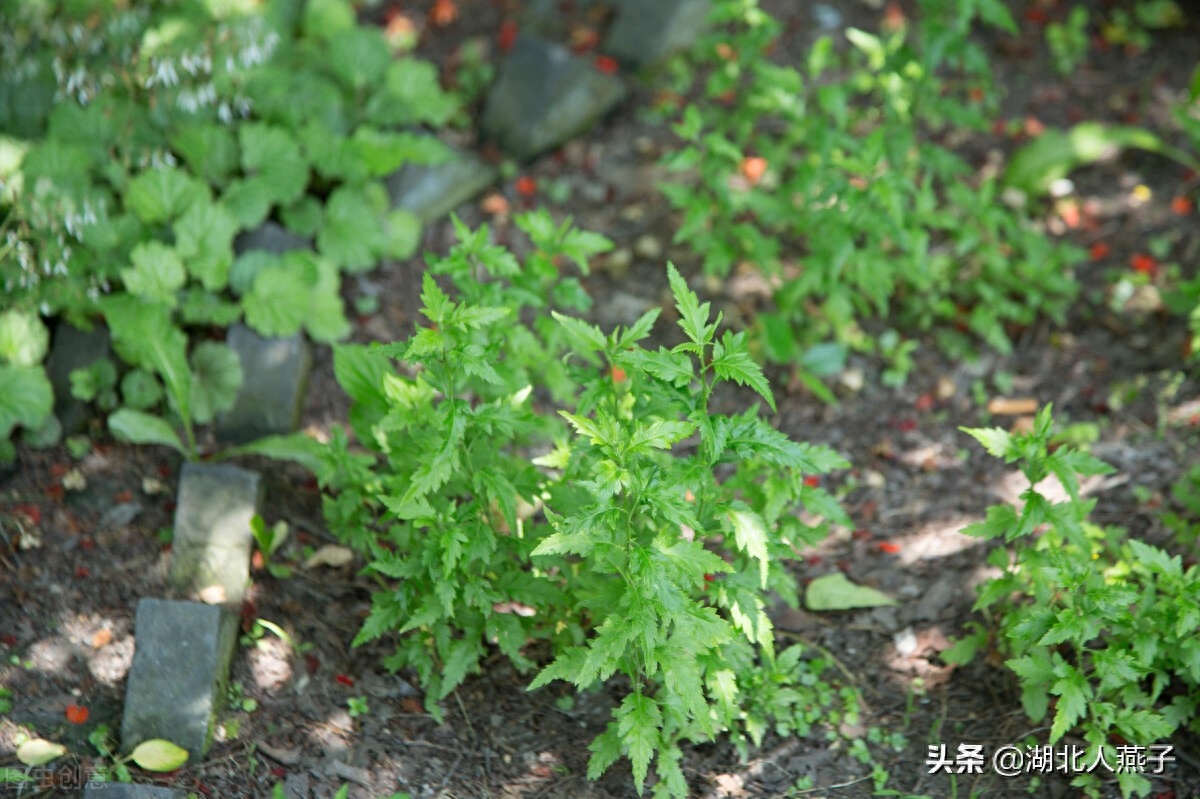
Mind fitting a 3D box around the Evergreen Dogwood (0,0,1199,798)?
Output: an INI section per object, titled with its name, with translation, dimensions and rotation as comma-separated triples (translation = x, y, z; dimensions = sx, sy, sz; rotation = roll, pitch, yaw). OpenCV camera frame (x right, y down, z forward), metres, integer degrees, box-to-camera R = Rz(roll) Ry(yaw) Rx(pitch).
[Evergreen Dogwood]
translation = -0.401, 0.133, 4.205
dimensions = 3.687, 2.246, 2.354
rotation = 12, 48, -14
